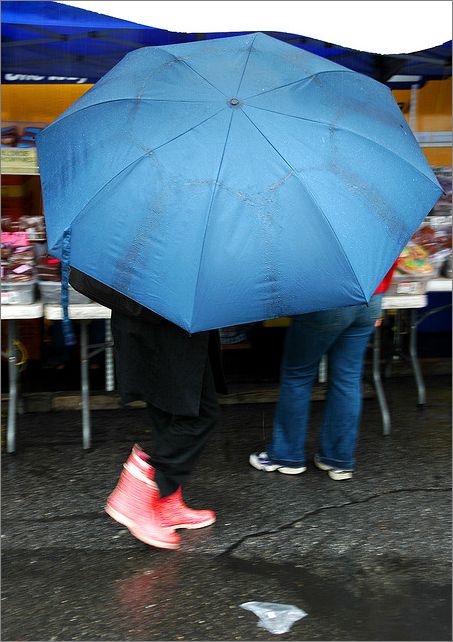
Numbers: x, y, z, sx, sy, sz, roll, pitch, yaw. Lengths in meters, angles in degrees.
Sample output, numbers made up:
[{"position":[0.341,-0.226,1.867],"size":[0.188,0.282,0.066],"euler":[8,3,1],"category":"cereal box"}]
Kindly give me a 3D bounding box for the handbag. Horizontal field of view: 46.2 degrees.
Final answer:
[{"position":[-0.445,-0.093,1.952],"size":[0.263,0.060,0.190],"euler":[28,-7,-27],"category":"handbag"}]

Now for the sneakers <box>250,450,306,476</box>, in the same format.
[{"position":[0.282,0.809,3.113],"size":[0.325,0.124,0.115],"euler":[7,12,20],"category":"sneakers"}]

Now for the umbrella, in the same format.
[{"position":[-0.003,-0.401,1.831],"size":[1.146,1.048,0.672],"euler":[6,-21,-3],"category":"umbrella"}]

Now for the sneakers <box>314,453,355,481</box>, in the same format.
[{"position":[0.614,0.851,3.038],"size":[0.092,0.080,0.211],"euler":[-6,23,-15],"category":"sneakers"}]
